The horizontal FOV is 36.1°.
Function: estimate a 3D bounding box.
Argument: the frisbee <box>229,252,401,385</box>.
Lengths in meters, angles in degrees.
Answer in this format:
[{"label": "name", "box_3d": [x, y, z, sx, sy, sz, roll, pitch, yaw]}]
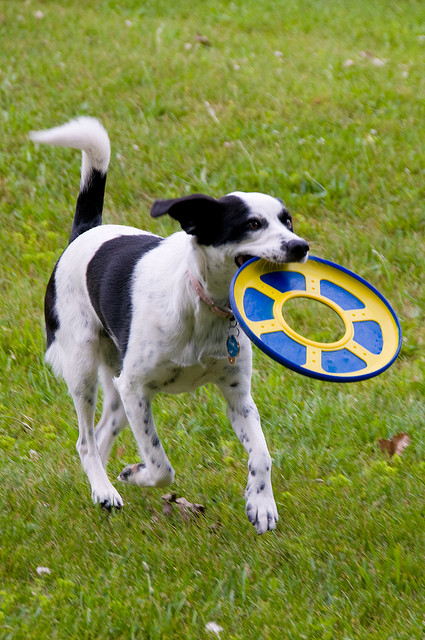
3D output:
[{"label": "frisbee", "box_3d": [0.432, 0.003, 2.782, 0.709, 0.096, 0.665, 22, 54, 3]}]
